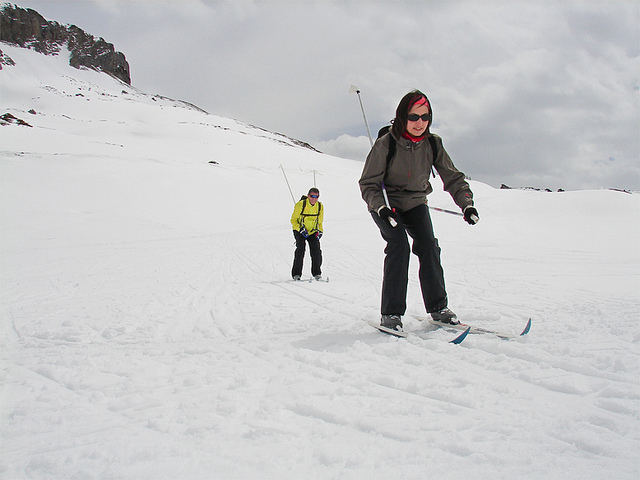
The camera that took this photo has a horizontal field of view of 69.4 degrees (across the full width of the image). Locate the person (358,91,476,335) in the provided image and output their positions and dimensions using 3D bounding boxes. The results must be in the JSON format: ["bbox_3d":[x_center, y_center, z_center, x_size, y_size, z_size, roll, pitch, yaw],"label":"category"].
[{"bbox_3d":[1.011,-0.283,4.752,1.185,2.434,0.871,-1,7,-1],"label":"person"}]

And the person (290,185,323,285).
[{"bbox_3d":[-0.260,-0.126,8.980,0.579,1.746,0.967,-1,7,2],"label":"person"}]

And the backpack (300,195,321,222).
[{"bbox_3d":[-0.202,-0.672,9.116,0.408,0.487,0.353,8,4,41],"label":"backpack"}]

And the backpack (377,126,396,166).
[{"bbox_3d":[0.671,-0.981,4.767,0.176,0.396,0.208,-2,8,-12],"label":"backpack"}]

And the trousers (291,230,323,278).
[{"bbox_3d":[-0.266,0.285,8.883,0.571,0.894,0.838,-1,7,-3],"label":"trousers"}]
